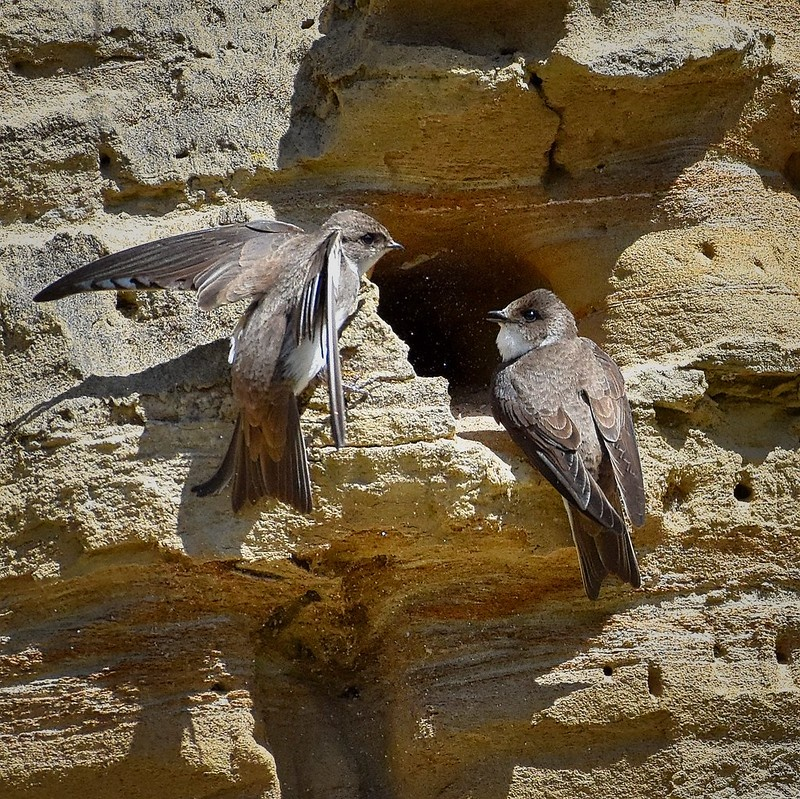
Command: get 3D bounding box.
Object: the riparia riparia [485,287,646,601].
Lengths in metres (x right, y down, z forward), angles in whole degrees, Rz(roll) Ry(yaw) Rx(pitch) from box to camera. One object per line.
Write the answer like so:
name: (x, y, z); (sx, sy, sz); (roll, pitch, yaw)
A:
riparia riparia: (0.665, 0.143, 11.011); (0.551, 0.551, 1.277); (-7, 54, -17)
